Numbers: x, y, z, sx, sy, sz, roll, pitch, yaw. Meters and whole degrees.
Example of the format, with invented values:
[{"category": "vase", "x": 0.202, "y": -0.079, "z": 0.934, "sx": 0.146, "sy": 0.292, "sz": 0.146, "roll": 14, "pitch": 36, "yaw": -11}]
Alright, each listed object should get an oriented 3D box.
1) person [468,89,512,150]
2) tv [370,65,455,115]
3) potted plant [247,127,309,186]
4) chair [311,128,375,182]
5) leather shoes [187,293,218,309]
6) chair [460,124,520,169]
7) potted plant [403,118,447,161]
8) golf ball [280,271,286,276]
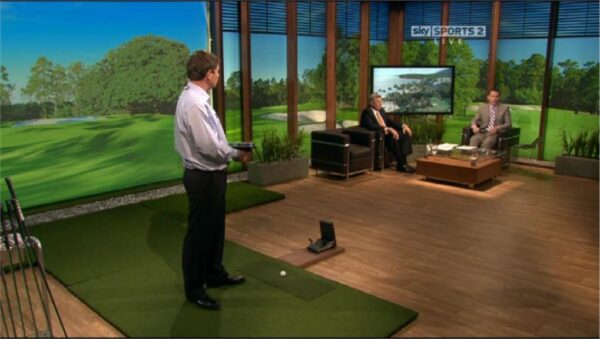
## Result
[{"category": "person", "x": 4.441, "y": -1.199, "z": 8.458, "sx": 0.937, "sy": 1.374, "sz": 0.685, "roll": -13, "pitch": 18, "yaw": -29}, {"category": "tv", "x": 2.897, "y": -2.142, "z": 9.304, "sx": 1.636, "sy": 0.835, "sz": 0.066, "roll": 1, "pitch": 13, "yaw": 6}, {"category": "potted plant", "x": -0.541, "y": -0.262, "z": 7.897, "sx": 0.616, "sy": 1.063, "sz": 1.360, "roll": 9, "pitch": 13, "yaw": 44}, {"category": "chair", "x": 1.015, "y": -0.475, "z": 8.440, "sx": 1.346, "sy": 0.835, "sz": 1.232, "roll": -11, "pitch": 18, "yaw": -40}, {"category": "leather shoes", "x": -1.144, "y": 1.577, "z": 4.269, "sx": 0.381, "sy": 0.141, "sz": 0.171, "roll": 5, "pitch": 9, "yaw": 16}, {"category": "chair", "x": 4.818, "y": -0.487, "z": 9.153, "sx": 1.380, "sy": 1.185, "sz": 1.348, "roll": -3, "pitch": -1, "yaw": 32}, {"category": "potted plant", "x": 3.152, "y": -0.758, "z": 9.160, "sx": 1.337, "sy": 1.210, "sz": 0.910, "roll": -1, "pitch": 4, "yaw": -21}, {"category": "golf ball", "x": -0.234, "y": 1.394, "z": 4.784, "sx": 0.064, "sy": 0.031, "sz": 0.061, "roll": -1, "pitch": 10, "yaw": 0}]
